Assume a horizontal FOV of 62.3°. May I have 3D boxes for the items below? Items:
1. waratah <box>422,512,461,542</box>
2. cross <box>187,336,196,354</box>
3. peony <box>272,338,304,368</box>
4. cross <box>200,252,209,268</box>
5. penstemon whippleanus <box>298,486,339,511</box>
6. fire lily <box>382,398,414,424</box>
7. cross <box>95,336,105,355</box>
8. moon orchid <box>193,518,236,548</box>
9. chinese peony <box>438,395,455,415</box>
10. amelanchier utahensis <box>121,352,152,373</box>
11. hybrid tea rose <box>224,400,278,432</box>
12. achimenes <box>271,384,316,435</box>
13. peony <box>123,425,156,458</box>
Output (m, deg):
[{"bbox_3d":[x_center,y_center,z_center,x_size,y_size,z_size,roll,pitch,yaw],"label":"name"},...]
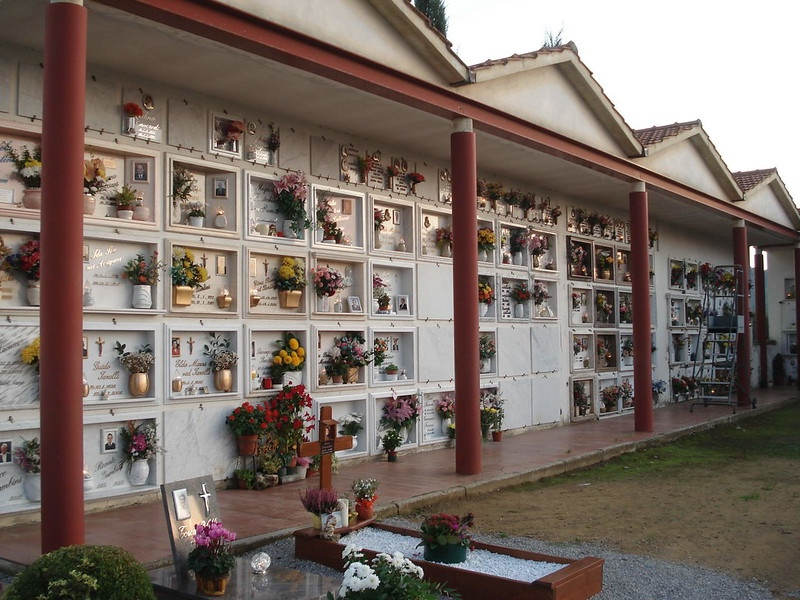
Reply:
[{"bbox_3d":[0.349,1.785,5.233,0.233,0.149,0.236,1,-3,20],"label":"waratah"},{"bbox_3d":[-2.574,0.563,8.211,0.081,0.213,0.013,3,-10,-39],"label":"cross"},{"bbox_3d":[-1.502,0.728,9.075,0.468,0.453,0.202,0,-9,-24],"label":"peony"},{"bbox_3d":[-2.484,-0.525,8.472,0.026,0.187,0.105,-6,-8,19],"label":"cross"},{"bbox_3d":[-0.734,1.802,6.003,0.244,0.171,0.239,4,-9,-29],"label":"penstemon whippleanus"},{"bbox_3d":[-0.033,1.711,10.310,0.415,0.255,0.410,-3,17,-5],"label":"fire lily"},{"bbox_3d":[-3.406,0.523,7.560,0.090,0.204,0.026,1,-9,-27],"label":"cross"},{"bbox_3d":[-1.450,1.760,5.006,0.350,0.147,0.231,-9,-10,37],"label":"moon orchid"},{"bbox_3d":[0.773,1.752,11.079,0.319,0.276,0.318,0,14,-3],"label":"chinese peony"},{"bbox_3d":[-3.035,0.716,7.678,0.247,0.169,0.249,12,4,24],"label":"amelanchier utahensis"},{"bbox_3d":[-1.856,1.492,8.309,0.427,0.302,0.422,1,12,-7],"label":"hybrid tea rose"},{"bbox_3d":[-1.451,1.423,8.903,0.678,0.802,0.591,3,-7,-38],"label":"achimenes"},{"bbox_3d":[-2.945,1.594,7.642,0.402,0.406,0.362,1,-4,-1],"label":"peony"}]
